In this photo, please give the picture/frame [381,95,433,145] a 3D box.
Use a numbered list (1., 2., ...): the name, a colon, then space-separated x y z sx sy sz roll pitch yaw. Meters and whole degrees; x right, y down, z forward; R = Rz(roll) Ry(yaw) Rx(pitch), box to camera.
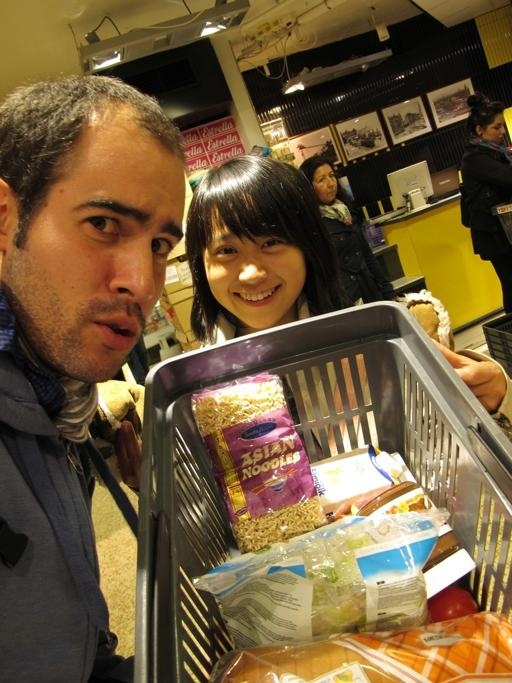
1. picture/frame: 2.346 -3.387 7.745 0.826 0.711 0.188 -19 16 -11
